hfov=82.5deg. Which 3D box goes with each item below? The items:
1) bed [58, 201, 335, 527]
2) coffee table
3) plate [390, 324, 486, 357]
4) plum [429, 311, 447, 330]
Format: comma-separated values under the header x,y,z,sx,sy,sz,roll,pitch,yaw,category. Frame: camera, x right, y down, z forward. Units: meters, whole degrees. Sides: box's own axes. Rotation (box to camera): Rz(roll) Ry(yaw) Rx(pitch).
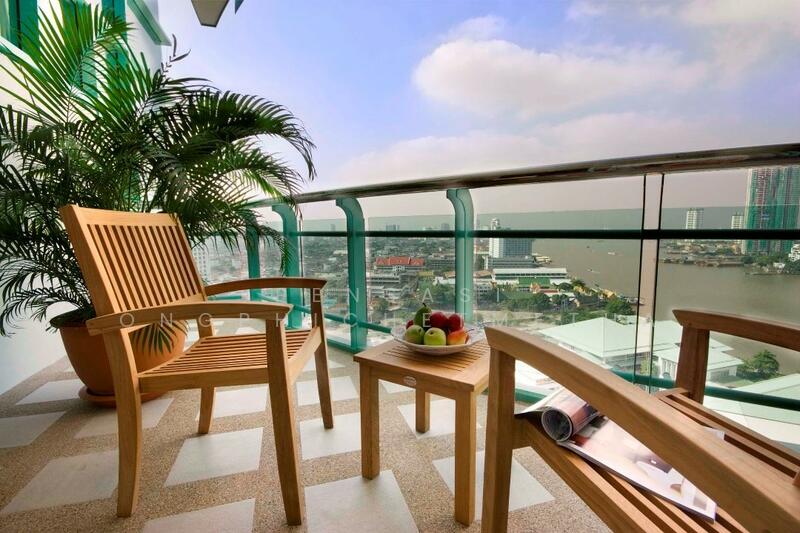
x,y,z,sx,sy,sz,roll,pitch,yaw,category
-1.121,0.377,2.920,2.016,1.480,1.415,2,14,0,bed
0.201,0.783,2.528,0.742,0.729,0.816,2,5,38,coffee table
0.234,0.329,2.495,0.620,0.112,0.435,5,9,11,plate
0.189,0.278,2.357,0.087,0.100,0.093,-1,0,35,plum
